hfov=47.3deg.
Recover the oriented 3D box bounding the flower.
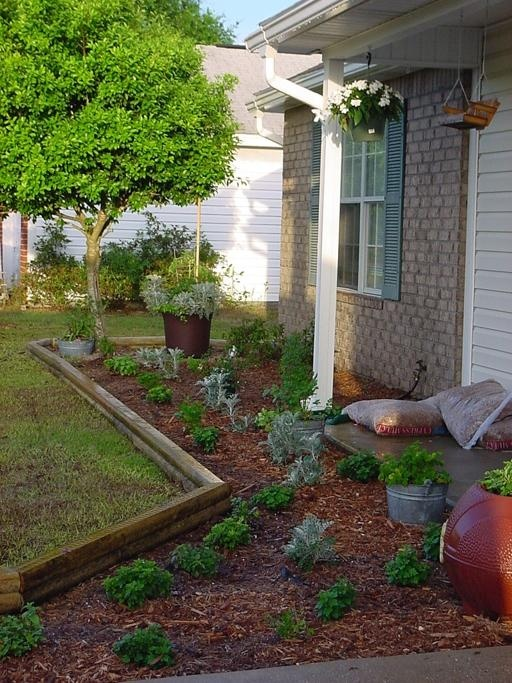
[{"bbox_3d":[0.844,-1.835,4.535,0.498,0.308,0.475,-6,16,-7],"label":"flower"}]

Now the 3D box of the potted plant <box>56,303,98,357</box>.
[{"bbox_3d":[-2.443,-0.088,7.919,0.438,0.534,0.405,0,9,-26],"label":"potted plant"}]

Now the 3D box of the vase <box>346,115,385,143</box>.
[{"bbox_3d":[0.847,-1.701,4.597,0.198,0.120,0.202,-2,3,41],"label":"vase"}]

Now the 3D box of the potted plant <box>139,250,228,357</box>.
[{"bbox_3d":[-0.922,-0.404,7.853,0.971,0.930,0.775,-10,5,-21],"label":"potted plant"}]

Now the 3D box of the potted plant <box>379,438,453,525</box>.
[{"bbox_3d":[0.782,0.725,2.878,0.352,0.313,0.311,0,-6,22],"label":"potted plant"}]
